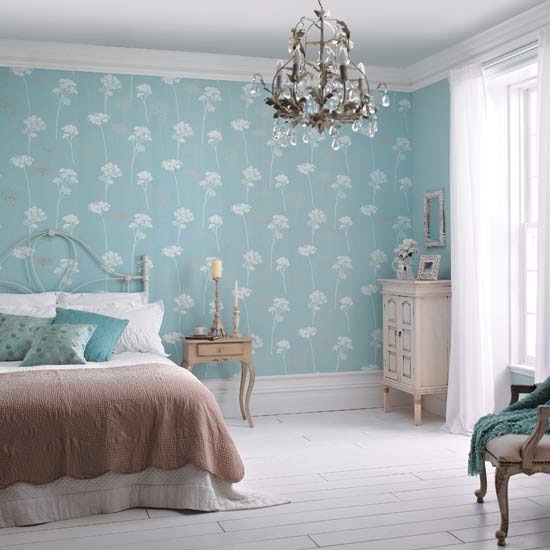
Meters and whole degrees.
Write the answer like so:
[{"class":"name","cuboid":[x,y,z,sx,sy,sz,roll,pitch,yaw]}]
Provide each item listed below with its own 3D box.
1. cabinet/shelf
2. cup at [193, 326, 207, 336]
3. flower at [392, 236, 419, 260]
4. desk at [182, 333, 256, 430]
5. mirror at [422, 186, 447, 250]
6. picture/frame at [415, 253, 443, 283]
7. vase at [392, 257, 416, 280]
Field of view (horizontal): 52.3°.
[{"class":"cabinet/shelf","cuboid":[1.129,0.620,4.703,0.330,1.162,0.617,0,1,-40]},{"class":"cup","cuboid":[-0.614,0.456,4.556,0.057,0.044,0.089,0,3,8]},{"class":"flower","cuboid":[1.139,-0.225,4.849,0.213,0.179,0.164,0,0,27]},{"class":"desk","cuboid":[-0.481,0.906,4.664,0.706,1.049,0.641,0,-2,-14]},{"class":"mirror","cuboid":[1.400,-0.500,4.960,0.079,0.525,0.335,0,0,-13]},{"class":"picture/frame","cuboid":[1.330,-0.060,4.805,0.016,0.324,0.262,18,-8,-28]},{"class":"vase","cuboid":[1.116,-0.053,4.927,0.212,0.233,0.167,-1,1,-3]}]
